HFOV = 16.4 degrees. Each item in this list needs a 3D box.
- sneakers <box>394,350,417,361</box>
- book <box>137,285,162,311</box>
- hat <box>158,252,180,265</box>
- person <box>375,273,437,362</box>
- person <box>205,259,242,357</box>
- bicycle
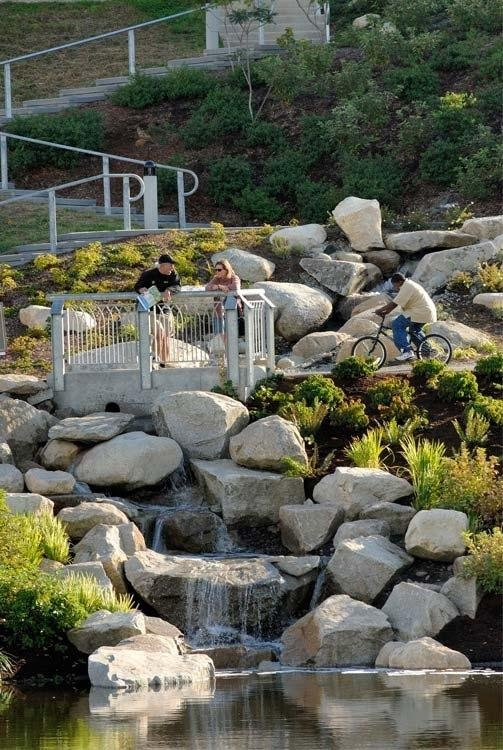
[{"bbox_3d":[2.368,-0.315,27.062,0.117,0.162,0.347,-7,3,-34],"label":"sneakers"},{"bbox_3d":[-1.503,-1.159,25.950,0.336,0.346,0.104,-38,-2,-8],"label":"book"},{"bbox_3d":[-1.287,-1.772,26.443,0.261,0.202,0.194,-10,12,1],"label":"hat"},{"bbox_3d":[2.375,-0.929,26.719,0.824,1.294,0.678,5,10,34],"label":"person"},{"bbox_3d":[-0.419,-1.046,27.035,0.468,1.494,0.484,-4,2,14],"label":"person"},{"bbox_3d":[2.347,-0.466,27.183,1.496,1.070,0.790,0,7,3],"label":"bicycle"}]
